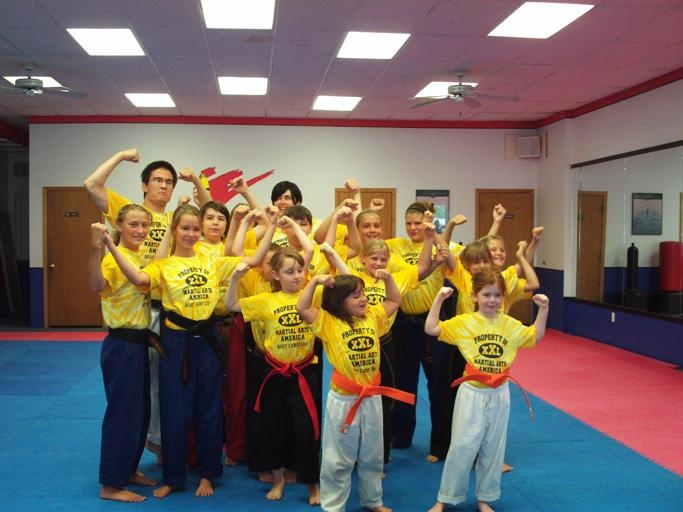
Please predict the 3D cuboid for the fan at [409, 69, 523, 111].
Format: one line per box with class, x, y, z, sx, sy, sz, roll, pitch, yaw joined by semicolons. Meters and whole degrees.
fan;1.533;-2.100;7.172;0.852;0.275;0.834;-1;8;-10
